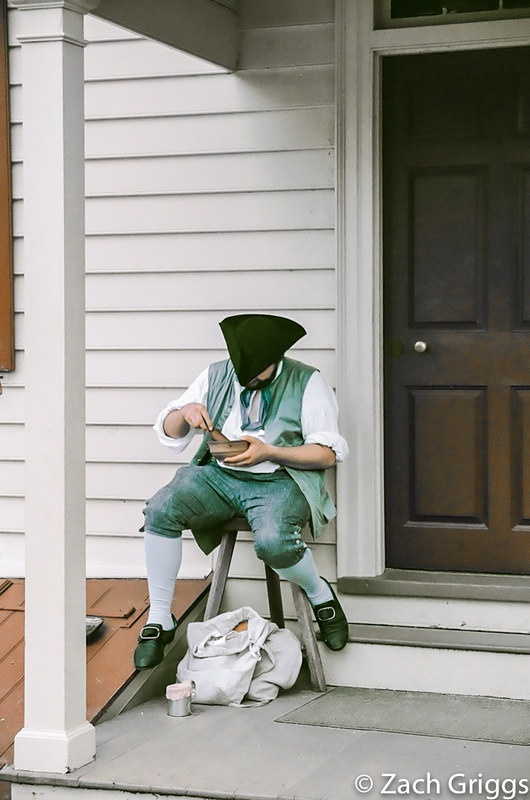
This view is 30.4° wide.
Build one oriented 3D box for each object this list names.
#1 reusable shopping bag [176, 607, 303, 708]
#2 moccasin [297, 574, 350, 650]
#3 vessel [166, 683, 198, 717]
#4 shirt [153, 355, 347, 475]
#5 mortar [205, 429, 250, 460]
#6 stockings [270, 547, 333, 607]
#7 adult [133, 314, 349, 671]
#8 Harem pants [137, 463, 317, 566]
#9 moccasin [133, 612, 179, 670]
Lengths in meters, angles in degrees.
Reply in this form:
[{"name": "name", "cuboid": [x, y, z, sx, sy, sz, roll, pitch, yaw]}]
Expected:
[{"name": "reusable shopping bag", "cuboid": [-0.077, 0.855, 3.140, 0.320, 0.122, 0.321, 5, 10, 31]}, {"name": "moccasin", "cuboid": [0.201, 0.730, 3.303, 0.084, 0.216, 0.089, -21, -6, 16]}, {"name": "vessel", "cuboid": [-0.262, 0.931, 3.012, 0.097, 0.087, 0.082, 6, -7, -43]}, {"name": "shirt", "cuboid": [-0.053, 0.039, 3.356, 0.674, 0.381, 0.329, 5, 0, 4]}, {"name": "mortar", "cuboid": [-0.118, 0.153, 3.132, 0.111, 0.062, 0.106, 5, -4, -25]}, {"name": "stockings", "cuboid": [0.127, 0.601, 3.298, 0.077, 0.218, 0.222, -35, -22, 18]}, {"name": "adult", "cuboid": [-0.053, 0.274, 3.339, 0.718, 1.082, 0.601, -1, 9, 3]}, {"name": "Harem pants", "cuboid": [-0.106, 0.358, 3.252, 0.428, 0.149, 0.398, 14, 23, 16]}, {"name": "moccasin", "cuboid": [-0.359, 0.803, 3.167, 0.067, 0.074, 0.193, 7, 13, 10]}]
